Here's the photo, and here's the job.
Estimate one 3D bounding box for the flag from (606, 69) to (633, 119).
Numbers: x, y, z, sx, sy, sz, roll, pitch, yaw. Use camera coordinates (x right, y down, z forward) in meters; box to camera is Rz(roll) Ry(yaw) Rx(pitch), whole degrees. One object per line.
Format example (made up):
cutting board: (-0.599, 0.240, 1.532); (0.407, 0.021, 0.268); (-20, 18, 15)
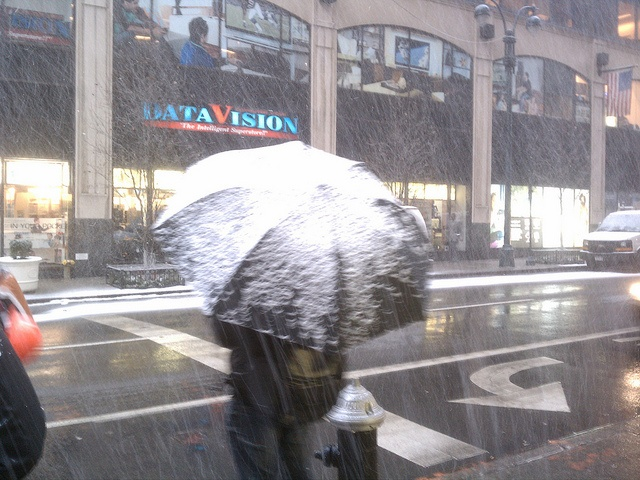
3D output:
flag: (13.671, -6.697, 35.443); (1.040, 2.145, 2.095); (4, 13, 18)

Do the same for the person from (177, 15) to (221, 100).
person: (-4.377, -6.483, 27.805); (1.365, 2.902, 0.708); (-5, 12, -23)
